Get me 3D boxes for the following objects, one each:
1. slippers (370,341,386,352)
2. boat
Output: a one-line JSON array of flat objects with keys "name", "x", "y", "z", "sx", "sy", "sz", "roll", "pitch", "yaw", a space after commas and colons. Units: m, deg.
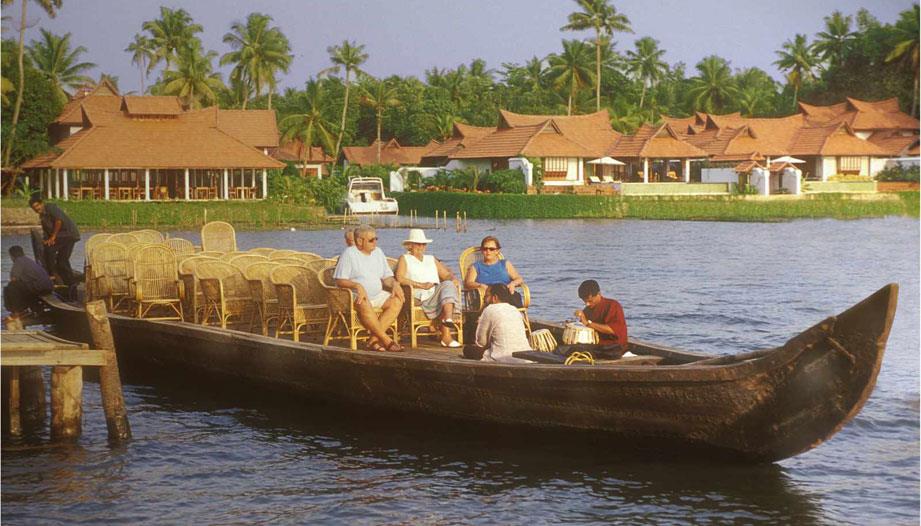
[{"name": "slippers", "x": -3.654, "y": 3.674, "z": 65.274, "sx": 0.830, "sy": 0.285, "sz": 0.226, "roll": 25, "pitch": 14, "yaw": 23}, {"name": "boat", "x": -0.921, "y": 5.083, "z": 65.310, "sx": 34.156, "sy": 8.077, "sz": 10.539, "roll": -2, "pitch": -2, "yaw": 13}]
